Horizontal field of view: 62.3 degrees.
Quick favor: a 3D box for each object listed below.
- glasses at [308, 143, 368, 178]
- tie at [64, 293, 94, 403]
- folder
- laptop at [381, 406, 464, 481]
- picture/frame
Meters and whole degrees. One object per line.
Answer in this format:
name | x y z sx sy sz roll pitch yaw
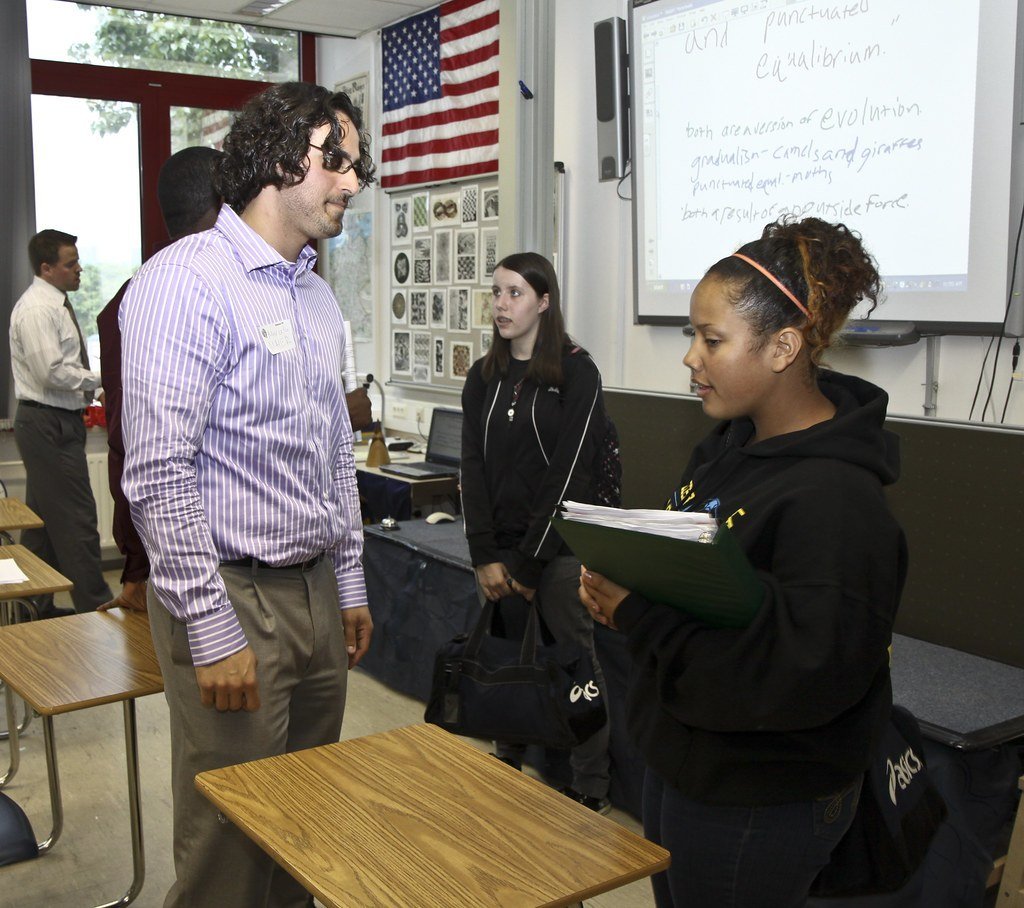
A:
glasses | -0.327 -0.538 1.539 0.058 0.020 0.061 32 21 25
tie | -2.499 -0.602 4.829 0.070 0.757 0.076 -18 -9 22
folder | 0.191 0.130 1.089 0.278 0.061 0.288 30 -23 -21
laptop | -0.459 -0.038 4.477 0.337 0.354 0.412 -2 5 -30
picture/frame | -0.389 -1.015 4.922 0.028 1.361 1.147 -4 7 -33
